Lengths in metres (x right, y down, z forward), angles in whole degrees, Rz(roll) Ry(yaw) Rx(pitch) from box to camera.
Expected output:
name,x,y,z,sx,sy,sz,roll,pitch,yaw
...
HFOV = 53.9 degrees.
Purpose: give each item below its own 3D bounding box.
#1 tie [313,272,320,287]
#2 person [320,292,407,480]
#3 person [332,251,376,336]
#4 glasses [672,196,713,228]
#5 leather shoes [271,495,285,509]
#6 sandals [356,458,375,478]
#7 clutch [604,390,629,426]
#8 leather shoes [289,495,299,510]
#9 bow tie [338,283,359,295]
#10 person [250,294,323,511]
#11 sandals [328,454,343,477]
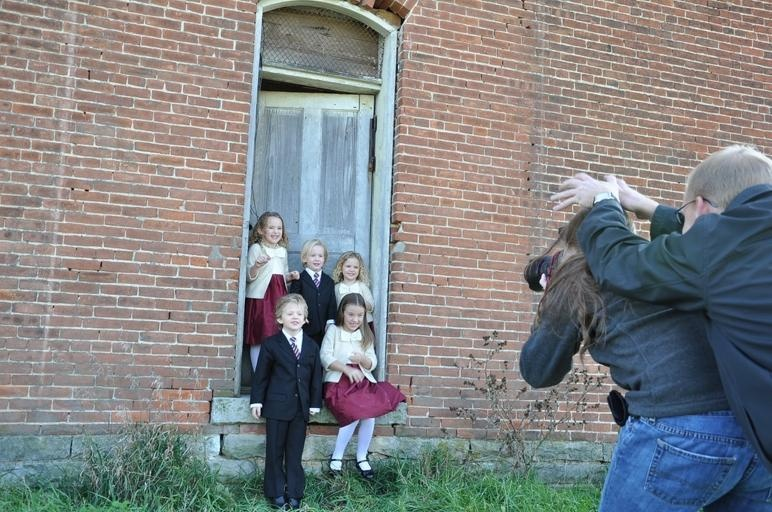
name,x,y,z,sx,sy,sz,roll,pitch,yaw
tie,-0.686,0.226,7.552,0.077,0.123,0.030,3,-14,-21
person,-0.275,1.198,7.292,0.735,1.219,0.469,3,-2,13
person,-0.341,0.531,7.731,0.420,1.096,0.383,-3,2,4
glasses,1.879,-0.281,4.656,0.177,0.051,0.175,-22,-9,-9
leather shoes,-0.938,2.172,6.652,0.133,0.083,0.275,4,-2,-9
sandals,-0.200,2.008,7.195,0.093,0.063,0.245,3,12,-26
clutch,1.446,0.948,4.735,0.053,0.205,0.155,-12,9,-41
leather shoes,-0.815,2.182,6.730,0.051,0.057,0.140,1,-1,-30
bow tie,-0.380,0.323,7.664,0.216,0.135,0.111,-2,-24,0
person,-0.913,1.285,6.900,0.635,1.449,0.403,4,-2,-7
sandals,-0.479,1.971,7.126,0.085,0.123,0.209,5,-2,-25
